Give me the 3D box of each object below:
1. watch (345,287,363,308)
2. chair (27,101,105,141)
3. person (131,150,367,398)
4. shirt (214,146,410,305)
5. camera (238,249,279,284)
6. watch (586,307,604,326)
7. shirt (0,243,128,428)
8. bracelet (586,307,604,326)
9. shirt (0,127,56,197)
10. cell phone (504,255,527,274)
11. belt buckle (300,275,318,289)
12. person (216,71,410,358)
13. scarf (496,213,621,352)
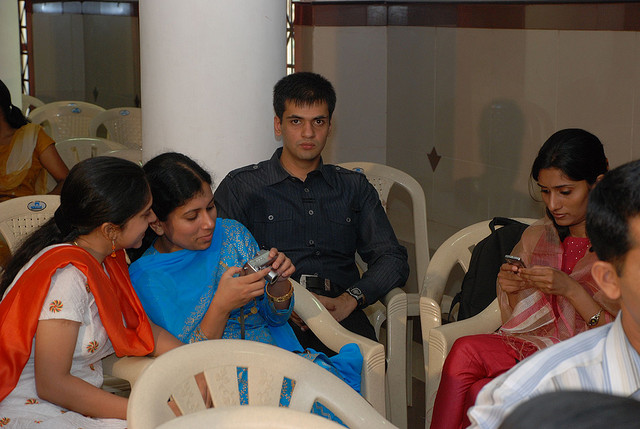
[{"bbox_3d":[0.181,0.445,2.690,0.092,0.099,0.054,9,15,32],"label":"watch"},{"bbox_3d":[-2.022,-0.759,3.962,0.327,0.347,0.402,-1,19,-7],"label":"chair"},{"bbox_3d":[-0.322,0.384,2.195,0.941,1.222,0.656,6,26,35],"label":"person"},{"bbox_3d":[-0.091,0.084,2.864,1.169,0.993,0.688,0,-5,-10],"label":"shirt"},{"bbox_3d":[-0.256,0.212,2.089,0.143,0.137,0.061,-44,2,-33],"label":"camera"},{"bbox_3d":[1.153,0.427,2.096,0.019,0.073,0.054,23,0,23],"label":"watch"},{"bbox_3d":[-0.942,0.423,1.770,0.392,0.576,0.467,-6,14,-27],"label":"shirt"},{"bbox_3d":[1.155,0.424,2.088,0.017,0.062,0.047,22,-3,23],"label":"bracelet"},{"bbox_3d":[-2.317,-0.420,3.910,0.424,0.472,0.177,11,9,2],"label":"shirt"},{"bbox_3d":[0.880,0.219,2.262,0.080,0.026,0.084,14,-24,48],"label":"cell phone"},{"bbox_3d":[-0.074,0.356,2.745,0.107,0.050,0.061,-12,18,-42],"label":"belt buckle"},{"bbox_3d":[-0.064,-0.037,2.730,0.986,1.557,0.991,1,2,21],"label":"person"},{"bbox_3d":[1.139,0.350,2.363,0.525,0.649,0.414,4,-10,39],"label":"scarf"}]
